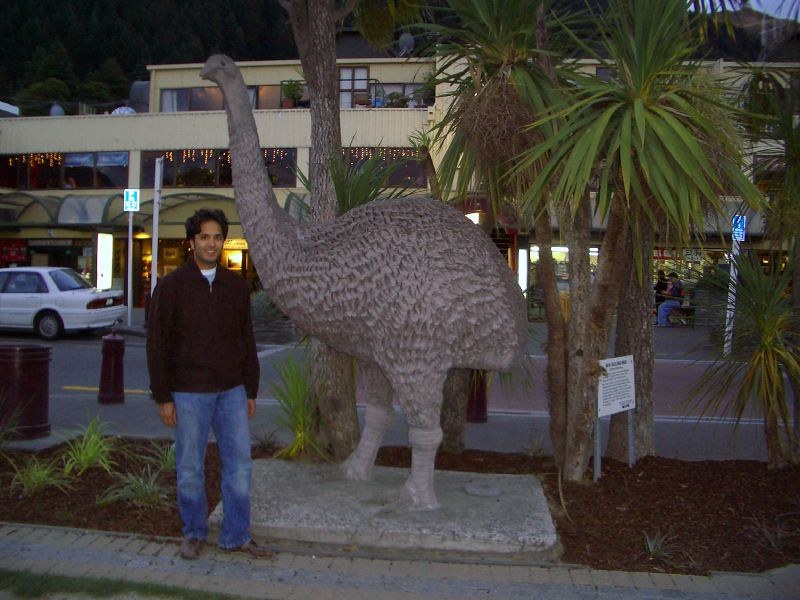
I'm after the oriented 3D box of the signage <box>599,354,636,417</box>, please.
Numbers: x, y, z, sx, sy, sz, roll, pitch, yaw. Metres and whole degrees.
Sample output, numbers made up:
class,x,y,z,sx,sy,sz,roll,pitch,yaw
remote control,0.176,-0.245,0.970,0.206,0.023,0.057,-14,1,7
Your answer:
class,x,y,z,sx,sy,sz,roll,pitch,yaw
signage,2.032,0.803,7.163,0.530,0.646,0.039,-2,2,-35

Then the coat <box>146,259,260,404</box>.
class,x,y,z,sx,sy,sz,roll,pitch,yaw
coat,-1.551,0.245,6.156,0.752,1.175,0.419,-2,0,-27

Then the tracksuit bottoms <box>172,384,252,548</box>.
class,x,y,z,sx,sy,sz,roll,pitch,yaw
tracksuit bottoms,-1.499,1.260,6.161,0.593,1.644,0.405,0,18,-16

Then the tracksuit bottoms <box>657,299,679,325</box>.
class,x,y,z,sx,sy,sz,roll,pitch,yaw
tracksuit bottoms,6.426,0.293,18.304,0.485,0.938,0.599,5,8,19

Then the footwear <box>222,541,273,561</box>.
class,x,y,z,sx,sy,sz,roll,pitch,yaw
footwear,-1.187,1.996,6.067,0.402,0.203,0.161,1,-5,8
